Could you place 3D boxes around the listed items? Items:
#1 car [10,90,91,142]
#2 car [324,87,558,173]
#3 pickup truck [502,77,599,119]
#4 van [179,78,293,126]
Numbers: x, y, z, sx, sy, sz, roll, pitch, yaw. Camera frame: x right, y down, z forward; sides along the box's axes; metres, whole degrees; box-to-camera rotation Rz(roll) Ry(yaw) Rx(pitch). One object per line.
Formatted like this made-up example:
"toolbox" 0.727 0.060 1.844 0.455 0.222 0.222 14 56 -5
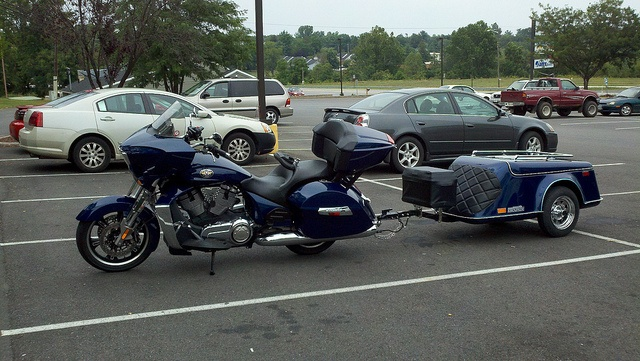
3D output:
"car" -8.180 -2.304 15.653 3.954 1.206 1.747 -8 12 -33
"car" 3.662 -1.691 13.908 6.675 1.925 2.669 -4 7 -12
"pickup truck" 14.964 -5.376 30.208 5.575 2.052 2.951 -4 9 -11
"van" -3.943 -4.149 23.106 6.012 1.968 2.670 -1 5 -17
